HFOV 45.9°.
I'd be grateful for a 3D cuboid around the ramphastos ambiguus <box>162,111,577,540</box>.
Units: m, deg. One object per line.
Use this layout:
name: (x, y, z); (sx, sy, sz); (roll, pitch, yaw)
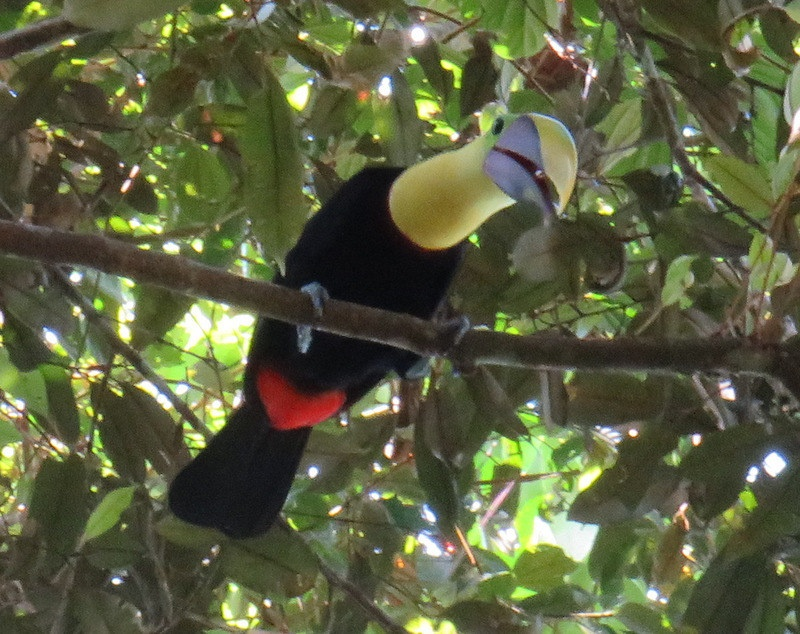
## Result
ramphastos ambiguus: (-0.061, 0.003, 1.951); (0.265, 0.328, 0.904); (38, -87, -26)
